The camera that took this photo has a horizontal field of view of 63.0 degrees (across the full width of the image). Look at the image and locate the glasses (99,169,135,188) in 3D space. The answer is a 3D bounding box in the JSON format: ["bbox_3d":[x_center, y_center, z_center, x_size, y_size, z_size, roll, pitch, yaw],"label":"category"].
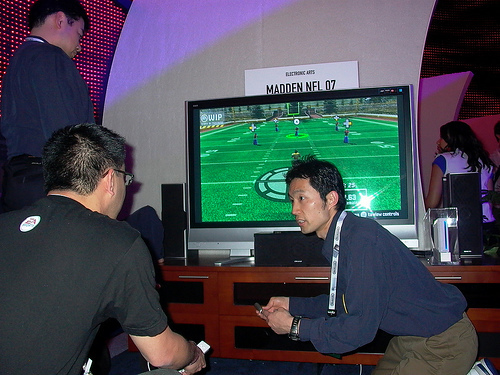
[{"bbox_3d":[-0.592,-0.054,1.842,0.097,0.029,0.095,13,-5,0],"label":"glasses"}]

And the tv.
[{"bbox_3d":[0.426,-0.087,3.110,1.433,0.999,0.431,-2,-9,9],"label":"tv"}]
